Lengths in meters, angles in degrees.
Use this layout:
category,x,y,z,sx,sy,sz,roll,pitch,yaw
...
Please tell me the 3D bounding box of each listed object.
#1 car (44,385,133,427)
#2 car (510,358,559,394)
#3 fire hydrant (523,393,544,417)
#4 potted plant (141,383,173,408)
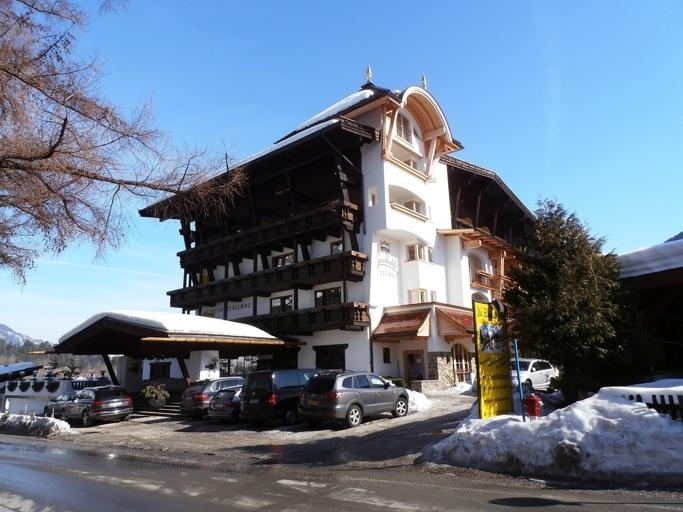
category,x,y,z,sx,sy,sz,roll,pitch,yaw
car,-13.133,7.659,26.998,6.248,1.906,2.207,-14,-19,39
car,10.014,6.405,28.605,3.921,1.572,2.056,5,-4,-38
fire hydrant,5.602,4.303,15.136,0.378,0.639,0.996,-6,-16,15
potted plant,-10.232,7.744,28.928,1.498,1.169,1.447,-13,-18,29
